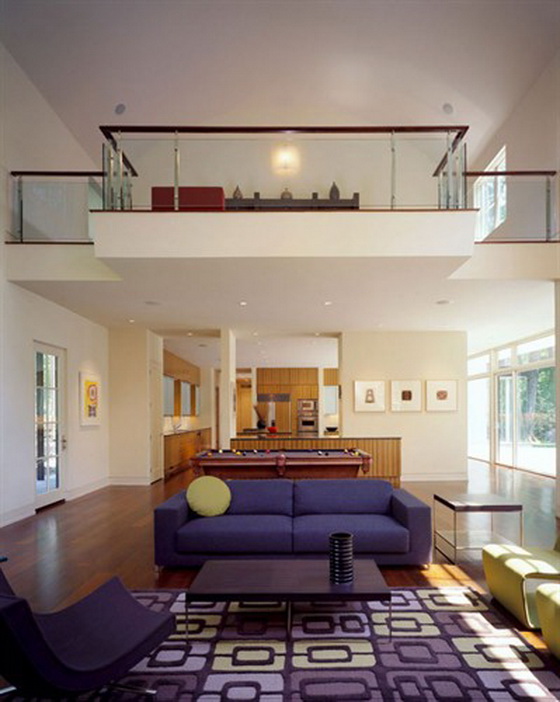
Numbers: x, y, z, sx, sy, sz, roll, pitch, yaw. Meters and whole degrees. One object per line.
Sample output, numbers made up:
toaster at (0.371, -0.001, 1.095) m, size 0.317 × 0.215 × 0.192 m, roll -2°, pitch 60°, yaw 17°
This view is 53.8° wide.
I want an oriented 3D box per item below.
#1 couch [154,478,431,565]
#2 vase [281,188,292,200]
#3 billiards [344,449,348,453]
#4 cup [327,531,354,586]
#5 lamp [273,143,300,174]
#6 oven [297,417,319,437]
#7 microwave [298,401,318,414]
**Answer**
couch at (0.127, 1.427, 4.562) m, size 2.126 × 0.616 × 0.872 m, roll -1°, pitch -5°, yaw 6°
vase at (0.067, -1.562, 5.479) m, size 0.092 × 0.098 × 0.099 m, roll 3°, pitch 4°, yaw 39°
billiards at (0.802, 1.232, 6.761) m, size 0.037 × 0.030 × 0.045 m, roll 1°, pitch 2°, yaw 5°
cup at (0.356, 1.219, 3.232) m, size 0.131 × 0.255 × 0.192 m, roll 0°, pitch -5°, yaw 5°
lamp at (0.072, -2.028, 5.827) m, size 0.304 × 0.313 × 0.308 m, roll 0°, pitch 3°, yaw -24°
oven at (0.832, 2.278, 16.739) m, size 0.650 × 0.700 × 0.497 m, roll 0°, pitch -9°, yaw 0°
microwave at (0.818, 1.671, 16.593) m, size 0.550 × 0.430 × 0.367 m, roll 0°, pitch -9°, yaw -2°
